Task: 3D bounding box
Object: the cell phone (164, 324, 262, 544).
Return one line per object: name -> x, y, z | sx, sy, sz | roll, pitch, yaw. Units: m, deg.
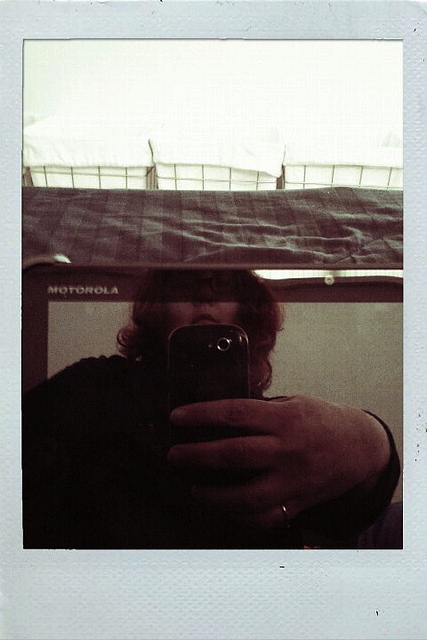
cell phone -> 0.000, 0.188, 1.027 | 0.160, 0.349, 0.099 | -1, 13, 3
